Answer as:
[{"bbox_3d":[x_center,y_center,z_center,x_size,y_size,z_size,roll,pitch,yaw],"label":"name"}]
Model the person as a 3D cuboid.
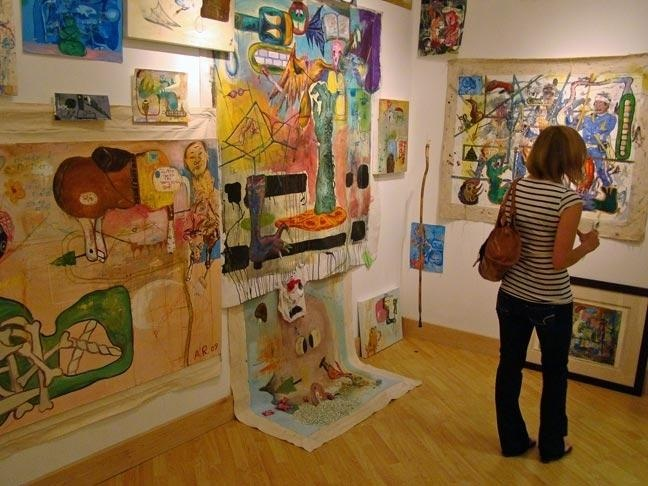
[{"bbox_3d":[1.236,0.337,2.714,0.487,1.911,0.340,10,18,29],"label":"person"}]
